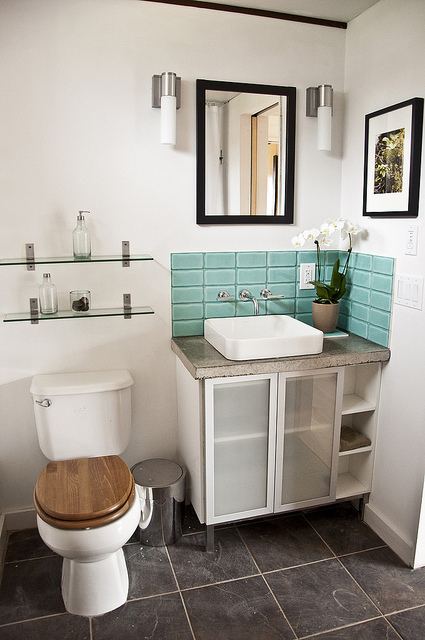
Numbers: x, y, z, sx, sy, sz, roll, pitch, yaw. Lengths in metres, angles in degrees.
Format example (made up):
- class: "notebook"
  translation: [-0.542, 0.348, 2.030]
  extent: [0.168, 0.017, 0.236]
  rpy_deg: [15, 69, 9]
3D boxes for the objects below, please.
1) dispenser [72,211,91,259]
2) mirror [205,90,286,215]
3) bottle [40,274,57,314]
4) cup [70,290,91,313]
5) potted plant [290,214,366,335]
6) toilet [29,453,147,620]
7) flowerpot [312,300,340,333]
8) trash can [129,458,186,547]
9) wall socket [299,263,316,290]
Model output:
- class: "dispenser"
  translation: [-0.535, -0.348, 2.007]
  extent: [0.073, 0.191, 0.129]
  rpy_deg: [-3, 9, -16]
- class: "mirror"
  translation: [0.148, -0.729, 2.212]
  extent: [0.416, 0.609, 0.024]
  rpy_deg: [8, 34, 15]
- class: "bottle"
  translation: [-0.669, -0.111, 2.005]
  extent: [0.068, 0.161, 0.152]
  rpy_deg: [-3, 9, -19]
- class: "cup"
  translation: [-0.537, -0.078, 2.001]
  extent: [0.077, 0.093, 0.078]
  rpy_deg: [1, 11, 0]
- class: "potted plant"
  translation: [0.525, -0.199, 2.314]
  extent: [0.257, 0.534, 0.311]
  rpy_deg: [-6, 6, -33]
- class: "toilet"
  translation: [-0.443, 0.797, 1.831]
  extent: [0.305, 0.499, 0.506]
  rpy_deg: [-2, 13, 2]
- class: "flowerpot"
  translation: [0.518, -0.017, 2.272]
  extent: [0.121, 0.155, 0.131]
  rpy_deg: [0, 2, -3]
- class: "trash can"
  translation: [-0.226, 0.760, 2.186]
  extent: [0.260, 0.332, 0.280]
  rpy_deg: [-1, 18, -7]
- class: "wall socket"
  translation: [0.463, -0.218, 2.423]
  extent: [0.113, 0.173, 0.017]
  rpy_deg: [-2, 7, -20]
